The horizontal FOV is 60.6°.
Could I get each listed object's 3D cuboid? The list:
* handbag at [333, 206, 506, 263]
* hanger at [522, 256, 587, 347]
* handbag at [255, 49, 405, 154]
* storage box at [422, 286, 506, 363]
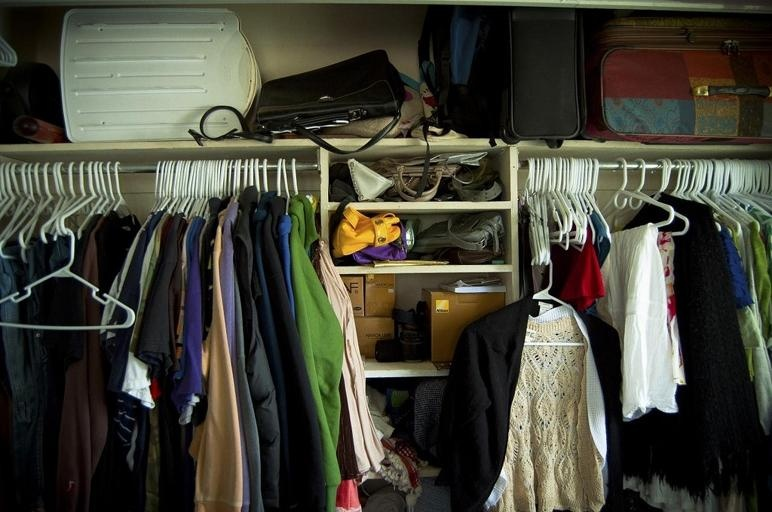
[{"bbox_3d":[0.130,-0.089,2.711,0.703,0.232,0.215,-3,-2,-6],"label":"handbag"},{"bbox_3d":[0.662,0.187,2.604,0.345,0.398,0.008,-1,10,10],"label":"hanger"},{"bbox_3d":[-0.263,-0.659,2.844,0.719,0.178,0.670,11,40,30],"label":"handbag"},{"bbox_3d":[0.315,0.268,2.709,0.291,0.289,0.291,0,0,-5],"label":"storage box"}]
